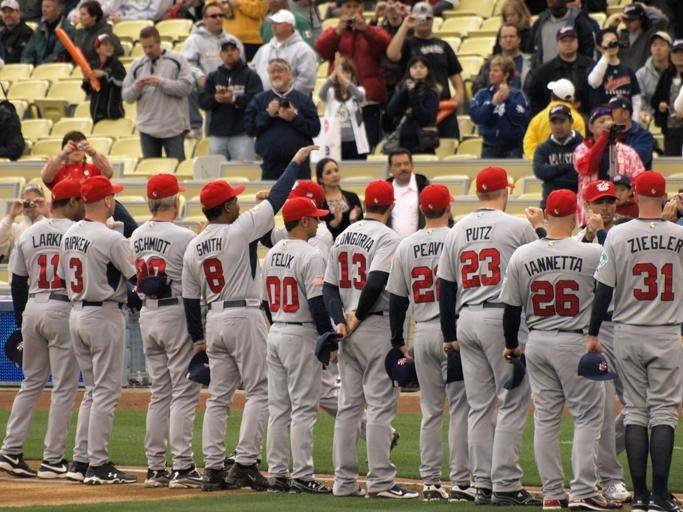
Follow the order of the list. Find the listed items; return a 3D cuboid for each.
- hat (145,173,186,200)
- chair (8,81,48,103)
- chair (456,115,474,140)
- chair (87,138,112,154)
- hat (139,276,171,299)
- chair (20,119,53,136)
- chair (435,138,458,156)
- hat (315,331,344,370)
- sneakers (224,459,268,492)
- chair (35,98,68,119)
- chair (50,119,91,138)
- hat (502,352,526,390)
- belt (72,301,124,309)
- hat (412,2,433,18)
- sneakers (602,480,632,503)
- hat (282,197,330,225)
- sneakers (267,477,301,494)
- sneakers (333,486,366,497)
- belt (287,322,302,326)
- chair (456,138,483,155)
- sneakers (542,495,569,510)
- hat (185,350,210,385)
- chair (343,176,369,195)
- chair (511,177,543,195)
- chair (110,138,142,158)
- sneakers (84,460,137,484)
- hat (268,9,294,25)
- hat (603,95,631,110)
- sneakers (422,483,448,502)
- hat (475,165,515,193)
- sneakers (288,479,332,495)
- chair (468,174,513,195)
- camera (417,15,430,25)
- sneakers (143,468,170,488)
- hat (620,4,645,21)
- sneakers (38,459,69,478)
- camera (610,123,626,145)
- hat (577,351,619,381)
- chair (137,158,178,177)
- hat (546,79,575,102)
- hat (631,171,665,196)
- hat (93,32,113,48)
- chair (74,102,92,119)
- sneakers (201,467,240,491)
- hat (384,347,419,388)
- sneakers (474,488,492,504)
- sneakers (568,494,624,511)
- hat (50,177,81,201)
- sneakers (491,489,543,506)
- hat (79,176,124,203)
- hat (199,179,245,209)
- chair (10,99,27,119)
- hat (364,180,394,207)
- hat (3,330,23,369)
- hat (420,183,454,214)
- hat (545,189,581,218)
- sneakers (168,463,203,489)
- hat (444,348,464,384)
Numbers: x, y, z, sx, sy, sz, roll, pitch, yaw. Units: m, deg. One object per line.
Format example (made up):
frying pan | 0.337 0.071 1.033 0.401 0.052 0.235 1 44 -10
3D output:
hat | -1.881 -0.779 18.275 0.258 0.220 0.374 4 21 18
chair | -5.277 -2.854 28.508 0.490 0.606 0.496 0 -1 1
chair | 1.810 -1.907 24.327 0.284 0.382 0.332 0 -3 -1
chair | -3.683 -1.727 25.880 0.275 0.354 0.301 -2 -11 -1
hat | -1.988 0.318 18.058 0.357 0.215 0.177 -1 -13 1
chair | -4.874 -2.088 27.047 0.330 0.256 0.338 -1 -7 -7
chair | 1.453 -1.509 23.040 0.224 0.303 0.250 4 -2 9
hat | -0.120 0.948 17.502 0.304 0.420 0.216 12 14 5
sneakers | -0.984 2.324 17.783 0.436 0.300 0.221 0 -13 -3
chair | -4.783 -2.484 27.947 0.368 0.474 0.410 1 -2 0
chair | -4.266 -2.109 26.866 0.573 0.547 0.467 1 3 3
hat | 1.737 1.146 16.923 0.156 0.352 0.311 5 -12 19
belt | -2.626 0.516 18.268 0.538 0.083 0.186 2 -13 -8
hat | 1.102 -3.318 22.572 0.214 0.180 0.338 2 -2 2
sneakers | 2.806 2.386 17.105 0.167 0.119 0.272 -9 5 -34
hat | -0.392 -0.506 17.858 0.392 0.231 0.258 4 8 -8
sneakers | -0.606 2.397 17.611 0.374 0.175 0.136 2 -4 -7
sneakers | 0.096 2.425 17.555 0.360 0.158 0.128 3 -3 -26
belt | -0.479 0.688 17.660 0.148 0.026 0.031 0 -13 0
chair | 1.785 -1.550 23.362 0.261 0.306 0.242 3 -9 2
sneakers | 2.120 2.434 16.680 0.105 0.117 0.269 -5 -16 24
hat | -1.502 1.169 17.901 0.234 0.355 0.198 1 -13 -5
chair | 0.208 -0.981 22.206 0.373 0.266 0.169 2 -23 13
chair | 2.412 -0.934 21.682 0.258 0.240 0.355 1 -4 7
chair | -3.247 -1.719 25.711 0.400 0.495 0.409 0 1 6
sneakers | -2.490 2.307 18.073 0.608 0.269 0.225 1 -4 -13
hat | -0.804 -3.298 23.032 0.310 0.156 0.231 14 10 -11
hat | 3.211 -1.795 19.411 0.216 0.120 0.154 15 15 0
sneakers | 0.962 2.433 17.360 0.116 0.146 0.326 -2 -4 38
hat | 1.615 -0.823 17.358 0.273 0.237 0.398 10 16 44
sneakers | -0.323 2.400 17.548 0.455 0.199 0.169 2 -2 -8
chair | 1.628 -0.789 18.129 0.284 0.399 0.390 8 9 41
camera | 1.101 -3.178 22.401 0.102 0.060 0.141 39 26 24
sneakers | -1.949 2.370 18.000 0.282 0.211 0.190 1 -13 -6
hat | 3.959 -3.343 22.811 0.184 0.143 0.260 14 22 34
sneakers | -3.119 2.328 18.453 0.421 0.199 0.145 0 1 -27
camera | 3.160 -1.430 19.281 0.128 0.126 0.228 -4 -37 -7
hat | 2.532 1.063 16.502 0.377 0.227 0.275 8 16 27
chair | -2.552 -1.283 23.805 0.513 0.242 0.654 -1 -3 2
hat | 2.756 -2.152 21.198 0.236 0.165 0.315 5 40 -19
hat | 3.071 -0.726 16.764 0.285 0.291 0.183 -4 -14 16
hat | -3.545 -3.275 25.168 0.220 0.178 0.297 -11 -13 -38
chair | -4.169 -2.401 27.428 0.284 0.359 0.316 0 -5 7
sneakers | -1.274 2.341 17.773 0.427 0.212 0.178 -3 2 -38
hat | 0.636 1.144 17.502 0.326 0.376 0.323 -2 -13 7
sneakers | 1.441 2.413 17.015 0.157 0.151 0.061 -1 -13 4
sneakers | 2.535 2.429 16.650 0.565 0.230 0.208 -3 -5 -7
hat | -3.031 -0.743 18.694 0.311 0.173 0.206 -17 31 -25
sneakers | 1.748 2.392 16.937 0.532 0.212 0.190 0 -3 -9
hat | -2.600 -0.735 18.351 0.426 0.336 0.272 2 -13 -11
hat | -1.252 -0.707 17.903 0.446 0.229 0.276 -33 25 -17
chair | -5.249 -2.461 27.623 0.314 0.423 0.370 -1 1 -21
hat | 0.422 -0.696 17.780 0.214 0.180 0.311 5 32 4
hat | -3.670 1.021 19.050 0.355 0.367 0.094 2 3 18
hat | 0.991 -0.623 17.542 0.309 0.346 0.242 0 -13 0
hat | 2.228 -0.553 16.948 0.219 0.186 0.319 5 30 14
sneakers | -1.644 2.352 17.911 0.166 0.210 0.427 3 1 43
hat | 1.162 1.110 17.214 0.245 0.280 0.082 -3 7 21
